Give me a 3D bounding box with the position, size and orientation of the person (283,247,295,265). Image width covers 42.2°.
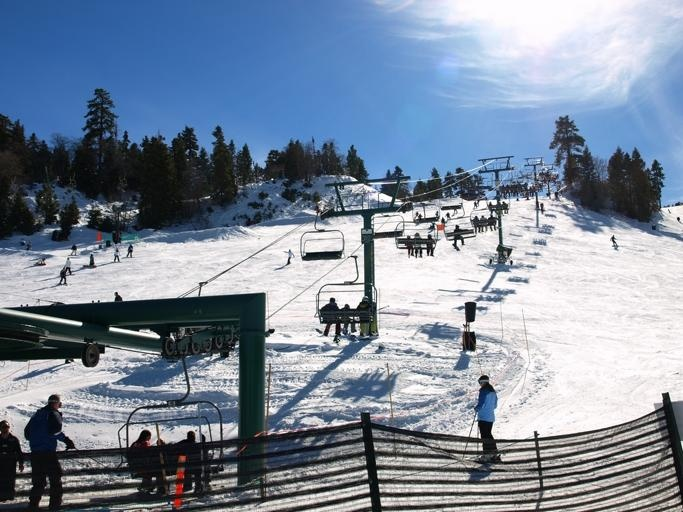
[{"bbox_3d":[-4.322,-0.019,68.036,0.323,1.069,1.112,-11,-10,26],"label":"person"}]

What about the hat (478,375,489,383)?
[{"bbox_3d":[5.568,4.826,35.045,0.306,0.339,0.398,-4,3,44],"label":"hat"}]
